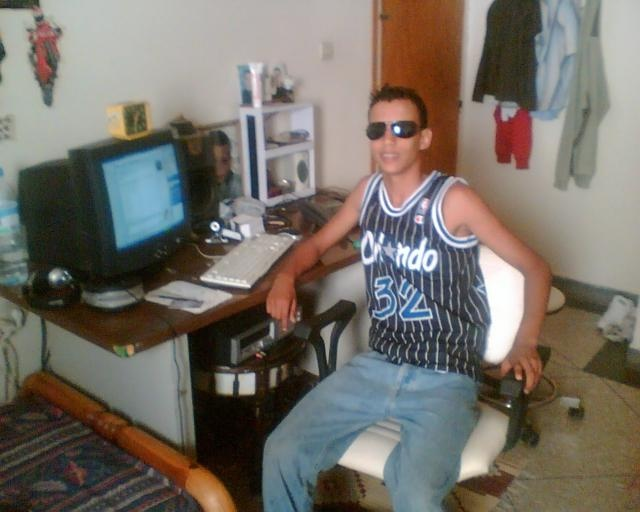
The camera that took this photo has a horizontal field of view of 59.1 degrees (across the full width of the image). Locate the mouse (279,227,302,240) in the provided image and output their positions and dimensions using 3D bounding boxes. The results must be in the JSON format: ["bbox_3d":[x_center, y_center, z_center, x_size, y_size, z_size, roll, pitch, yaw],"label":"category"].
[{"bbox_3d":[-0.122,-0.098,2.404,0.047,0.021,0.082,-26,24,-27],"label":"mouse"}]

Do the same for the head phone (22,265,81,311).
[{"bbox_3d":[-0.903,0.109,1.884,0.152,0.106,0.199,6,25,-9],"label":"head phone"}]

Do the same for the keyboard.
[{"bbox_3d":[-0.280,0.021,2.129,0.170,0.066,0.338,10,30,18],"label":"keyboard"}]

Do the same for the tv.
[{"bbox_3d":[-0.790,-0.211,2.100,0.430,0.472,0.502,6,22,15],"label":"tv"}]

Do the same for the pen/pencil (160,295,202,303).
[{"bbox_3d":[-0.472,0.148,1.915,0.103,0.015,0.012,6,2,11],"label":"pen/pencil"}]

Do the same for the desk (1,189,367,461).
[{"bbox_3d":[-0.566,0.286,2.028,0.663,0.516,1.055,16,33,28],"label":"desk"}]

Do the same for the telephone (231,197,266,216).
[{"bbox_3d":[-0.327,-0.224,2.571,0.114,0.035,0.088,15,26,38],"label":"telephone"}]

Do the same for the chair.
[{"bbox_3d":[0.272,0.359,2.008,0.714,0.841,0.714,19,29,29],"label":"chair"}]

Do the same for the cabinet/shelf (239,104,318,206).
[{"bbox_3d":[-0.216,-0.489,2.791,0.143,0.456,0.393,13,29,31],"label":"cabinet/shelf"}]
